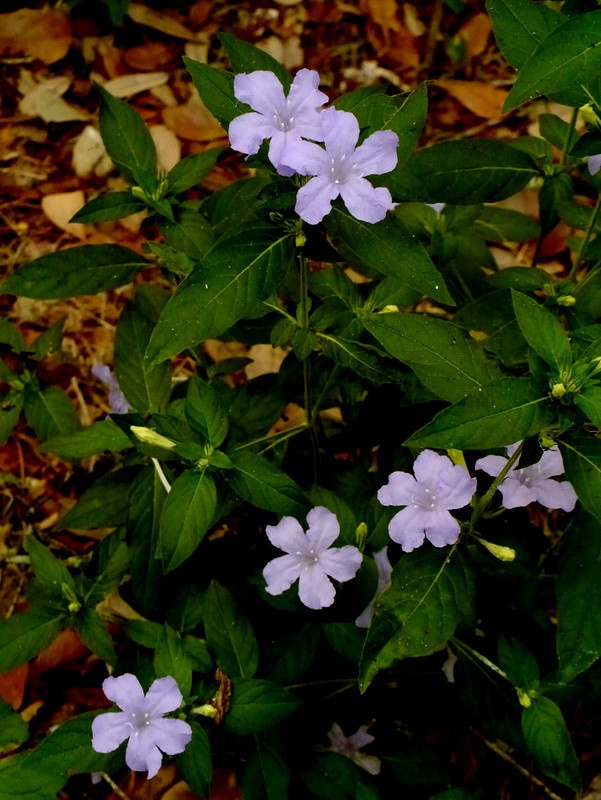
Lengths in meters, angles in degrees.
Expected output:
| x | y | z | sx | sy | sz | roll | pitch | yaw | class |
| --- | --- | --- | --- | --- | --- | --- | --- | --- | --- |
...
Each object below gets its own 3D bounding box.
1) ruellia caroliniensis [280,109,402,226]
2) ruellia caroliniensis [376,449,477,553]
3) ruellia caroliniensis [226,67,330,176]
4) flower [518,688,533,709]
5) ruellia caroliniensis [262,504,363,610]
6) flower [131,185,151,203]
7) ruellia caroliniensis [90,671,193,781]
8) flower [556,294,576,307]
| x | y | z | sx | sy | sz | roll | pitch | yaw | class |
| --- | --- | --- | --- | --- | --- | --- | --- | --- | --- |
| 0.107 | -0.552 | 1.708 | 0.290 | 0.280 | 0.059 | -14 | 8 | -11 | ruellia caroliniensis |
| 0.356 | 0.288 | 1.963 | 0.264 | 0.292 | 0.173 | -12 | 8 | 8 | ruellia caroliniensis |
| -0.033 | -0.700 | 1.734 | 0.192 | 0.172 | 0.076 | 12 | 19 | 37 | ruellia caroliniensis |
| 0.649 | 0.848 | 2.063 | 0.015 | 0.052 | 0.036 | -34 | 12 | -23 | flower |
| 0.021 | 0.446 | 2.071 | 0.339 | 0.277 | 0.096 | -3 | -5 | -24 | ruellia caroliniensis |
| -0.498 | -0.637 | 2.252 | 0.043 | 0.038 | 0.036 | -15 | 8 | -19 | flower |
| -0.421 | 0.865 | 1.938 | 0.255 | 0.229 | 0.126 | -10 | 9 | 21 | ruellia caroliniensis |
| 0.855 | -0.313 | 2.318 | 0.052 | 0.043 | 0.070 | -10 | 8 | 19 | flower |
